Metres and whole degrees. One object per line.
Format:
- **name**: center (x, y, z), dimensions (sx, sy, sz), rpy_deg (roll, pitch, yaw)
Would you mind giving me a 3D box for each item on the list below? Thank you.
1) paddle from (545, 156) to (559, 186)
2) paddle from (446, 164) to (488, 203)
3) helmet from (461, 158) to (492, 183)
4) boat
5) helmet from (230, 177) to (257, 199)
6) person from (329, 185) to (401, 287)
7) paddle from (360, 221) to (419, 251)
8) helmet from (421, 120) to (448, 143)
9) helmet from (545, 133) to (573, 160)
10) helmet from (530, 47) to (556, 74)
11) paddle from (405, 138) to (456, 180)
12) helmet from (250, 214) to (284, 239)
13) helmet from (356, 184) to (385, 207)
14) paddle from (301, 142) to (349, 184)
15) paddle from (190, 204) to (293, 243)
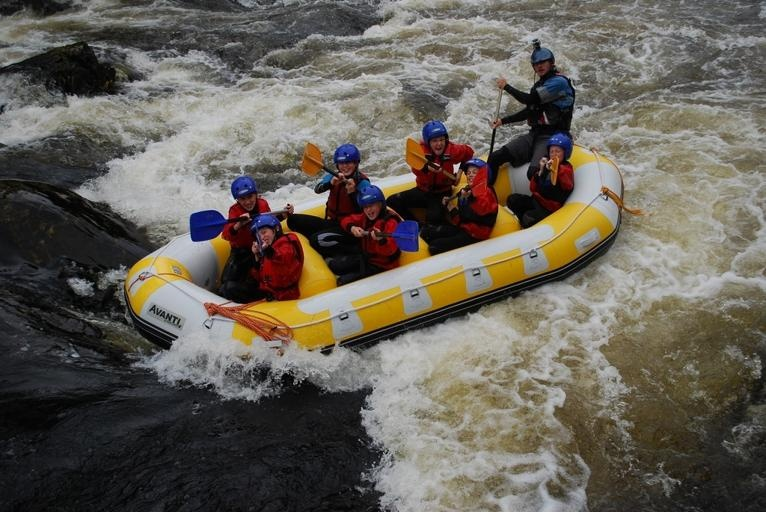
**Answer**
- **paddle**: center (2.447, -1.234, 10.826), dimensions (0.116, 0.334, 0.210), rpy_deg (-3, 8, -33)
- **paddle**: center (1.220, -1.043, 10.699), dimensions (0.613, 0.214, 0.429), rpy_deg (-21, 62, 46)
- **helmet**: center (1.357, -1.285, 10.754), dimensions (0.268, 0.384, 0.182), rpy_deg (-7, 57, 48)
- **boat**: center (0.001, 0.309, 10.306), dimensions (5.607, 0.968, 2.889), rpy_deg (-15, 43, -9)
- **helmet**: center (-2.004, -0.924, 10.451), dimensions (0.265, 0.353, 0.312), rpy_deg (-8, 78, -7)
- **person**: center (-0.321, -0.231, 10.410), dimensions (0.923, 1.033, 0.796), rpy_deg (-15, 54, -31)
- **paddle**: center (0.141, -0.270, 10.220), dimensions (0.598, 0.442, 0.284), rpy_deg (2, 46, 18)
- **helmet**: center (0.701, -1.857, 11.135), dimensions (0.315, 0.358, 0.398), rpy_deg (-7, 1, -5)
- **helmet**: center (2.584, -1.595, 10.924), dimensions (0.332, 0.382, 0.423), rpy_deg (0, 5, 41)
- **helmet**: center (2.475, -3.018, 11.558), dimensions (0.318, 0.405, 0.421), rpy_deg (-17, 22, 27)
- **paddle**: center (0.547, -1.402, 11.007), dimensions (0.958, 0.394, 0.168), rpy_deg (25, 3, -3)
- **helmet**: center (-1.655, -0.405, 10.140), dimensions (0.363, 0.274, 0.284), rpy_deg (-24, 12, -39)
- **helmet**: center (-0.229, -0.802, 10.279), dimensions (0.341, 0.248, 0.265), rpy_deg (-24, 43, -10)
- **paddle**: center (-0.927, -1.300, 10.874), dimensions (0.226, 0.879, 0.444), rpy_deg (-5, 61, 62)
- **paddle**: center (-2.083, -0.514, 10.653), dimensions (1.603, 0.414, 0.063), rpy_deg (-13, 31, -39)
